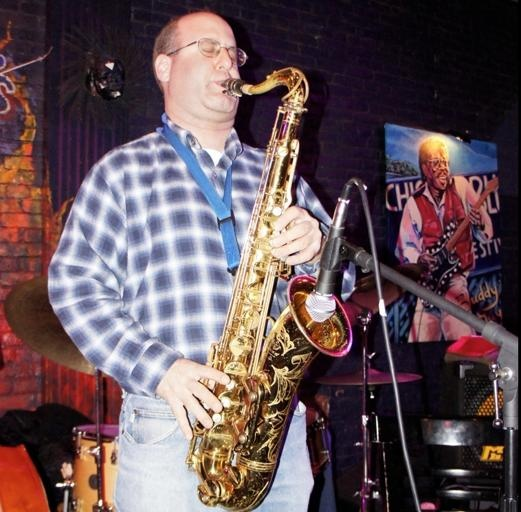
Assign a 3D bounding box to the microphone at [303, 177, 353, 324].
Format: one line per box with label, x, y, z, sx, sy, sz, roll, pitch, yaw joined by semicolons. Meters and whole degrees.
microphone;0.181;-0.005;1.732;0.098;0.362;0.245;4;-6;4
